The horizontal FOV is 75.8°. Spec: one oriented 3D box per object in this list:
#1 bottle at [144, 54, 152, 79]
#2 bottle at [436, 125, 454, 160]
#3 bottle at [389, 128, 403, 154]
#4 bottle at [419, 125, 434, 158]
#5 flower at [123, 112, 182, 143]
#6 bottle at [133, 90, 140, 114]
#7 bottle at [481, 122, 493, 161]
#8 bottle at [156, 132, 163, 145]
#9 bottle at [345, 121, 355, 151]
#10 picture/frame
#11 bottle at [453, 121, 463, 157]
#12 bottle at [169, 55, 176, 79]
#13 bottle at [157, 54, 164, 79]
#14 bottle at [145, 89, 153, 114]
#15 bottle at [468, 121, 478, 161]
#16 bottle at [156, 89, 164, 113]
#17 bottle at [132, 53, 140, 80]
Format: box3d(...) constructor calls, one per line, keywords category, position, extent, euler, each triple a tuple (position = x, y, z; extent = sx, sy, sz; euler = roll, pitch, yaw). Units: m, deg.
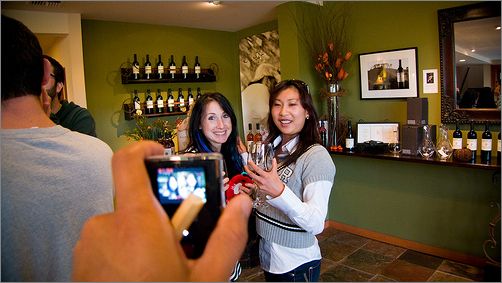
box3d(category="bottle", position=(-1.668, -1.206, 5.183), extent=(0.103, 0.373, 0.181), euler=(-5, 7, -35))
box3d(category="bottle", position=(2.236, -0.008, 3.719), extent=(0.167, 0.376, 0.398), euler=(3, 7, 31))
box3d(category="bottle", position=(1.798, -0.017, 4.022), extent=(0.140, 0.307, 0.225), euler=(2, 7, 26))
box3d(category="bottle", position=(2.065, -0.009, 3.763), extent=(0.157, 0.365, 0.174), euler=(0, 6, 8))
box3d(category="flower", position=(-1.212, -0.184, 3.881), extent=(0.546, 0.338, 0.458), euler=(15, 4, 20))
box3d(category="bottle", position=(-1.773, -0.619, 5.011), extent=(0.111, 0.383, 0.586), euler=(-3, 7, -19))
box3d(category="bottle", position=(2.538, -0.011, 3.471), extent=(0.091, 0.415, 0.259), euler=(4, 7, 36))
box3d(category="bottle", position=(-0.972, -0.041, 3.441), extent=(0.034, 0.124, 0.129), euler=(-5, -14, -14))
box3d(category="bottle", position=(1.333, -0.087, 4.341), extent=(0.122, 0.390, 0.331), euler=(1, 6, 17))
box3d(category="picture/frame", position=(1.817, -0.897, 4.186), extent=(0.803, 0.653, 0.036), euler=(1, 7, 40))
box3d(category="bottle", position=(2.322, -0.057, 3.624), extent=(0.091, 0.365, 0.353), euler=(3, 7, 32))
box3d(category="bottle", position=(-1.320, -1.257, 5.417), extent=(0.102, 0.386, 0.132), euler=(-2, 6, -11))
box3d(category="bottle", position=(-1.502, -1.239, 5.333), extent=(0.104, 0.387, 0.214), euler=(-2, 6, -16))
box3d(category="bottle", position=(-1.659, -0.660, 5.294), extent=(0.115, 0.391, 0.228), euler=(-2, 6, -8))
box3d(category="bottle", position=(2.447, -0.017, 3.562), extent=(0.099, 0.418, 0.386), euler=(3, 7, 35))
box3d(category="bottle", position=(-1.529, -0.689, 5.414), extent=(0.117, 0.394, 0.215), euler=(-2, 6, -9))
box3d(category="bottle", position=(-1.814, -1.194, 5.107), extent=(0.100, 0.415, 0.214), euler=(-1, 6, 0))
